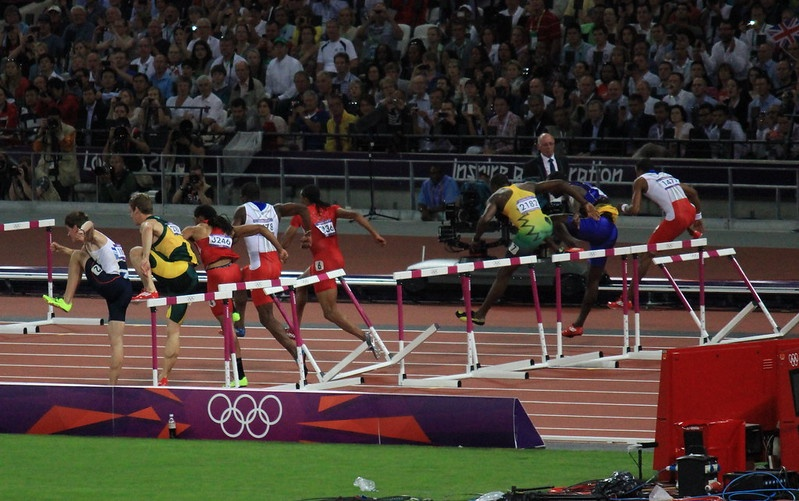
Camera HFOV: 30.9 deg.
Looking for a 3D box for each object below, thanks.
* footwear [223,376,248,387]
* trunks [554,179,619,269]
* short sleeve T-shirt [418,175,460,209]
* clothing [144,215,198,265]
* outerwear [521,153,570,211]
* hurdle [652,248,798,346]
[{"bbox_3d":[-2.343,1.876,20.754,0.317,0.110,0.096,2,-11,-8],"label":"footwear"},{"bbox_3d":[2.878,-0.459,23.280,1.265,1.491,0.677,-3,-11,14],"label":"trunks"},{"bbox_3d":[0.693,-1.089,26.739,0.780,0.514,0.398,-1,5,19],"label":"short sleeve T-shirt"},{"bbox_3d":[-3.324,-0.142,21.142,0.762,0.761,0.658,-5,3,30],"label":"clothing"},{"bbox_3d":[2.397,-1.115,23.695,0.823,0.927,0.396,-3,6,6],"label":"outerwear"},{"bbox_3d":[5.335,0.792,23.767,1.383,0.901,1.125,-20,31,-18],"label":"hurdle"}]
